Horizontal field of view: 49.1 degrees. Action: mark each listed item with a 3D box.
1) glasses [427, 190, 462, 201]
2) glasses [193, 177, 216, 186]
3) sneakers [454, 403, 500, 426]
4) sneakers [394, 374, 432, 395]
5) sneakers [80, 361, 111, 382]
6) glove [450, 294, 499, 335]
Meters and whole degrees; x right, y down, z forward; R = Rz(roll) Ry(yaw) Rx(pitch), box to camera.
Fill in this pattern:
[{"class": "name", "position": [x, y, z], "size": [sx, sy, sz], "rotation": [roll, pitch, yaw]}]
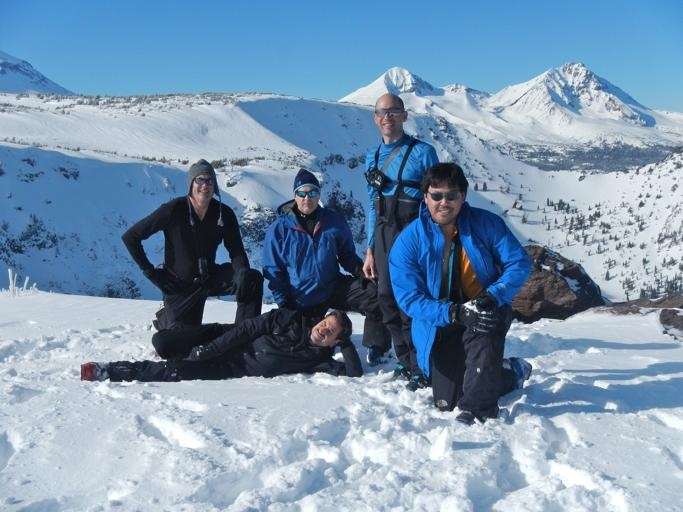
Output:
[{"class": "glasses", "position": [1.122, -0.656, 8.164], "size": [0.346, 0.111, 0.046], "rotation": [1, 14, 6]}, {"class": "glasses", "position": [-1.723, -0.967, 9.578], "size": [0.300, 0.140, 0.115], "rotation": [-11, 17, -36]}, {"class": "sneakers", "position": [1.433, 1.707, 7.987], "size": [0.471, 0.193, 0.168], "rotation": [2, -1, -13]}, {"class": "sneakers", "position": [0.835, 1.497, 8.721], "size": [0.415, 0.187, 0.140], "rotation": [5, 3, 8]}, {"class": "sneakers", "position": [-2.881, 1.352, 8.817], "size": [0.254, 0.240, 0.252], "rotation": [-1, -3, 39]}, {"class": "glove", "position": [1.426, 0.629, 7.993], "size": [0.419, 0.432, 0.194], "rotation": [28, 41, 16]}]
